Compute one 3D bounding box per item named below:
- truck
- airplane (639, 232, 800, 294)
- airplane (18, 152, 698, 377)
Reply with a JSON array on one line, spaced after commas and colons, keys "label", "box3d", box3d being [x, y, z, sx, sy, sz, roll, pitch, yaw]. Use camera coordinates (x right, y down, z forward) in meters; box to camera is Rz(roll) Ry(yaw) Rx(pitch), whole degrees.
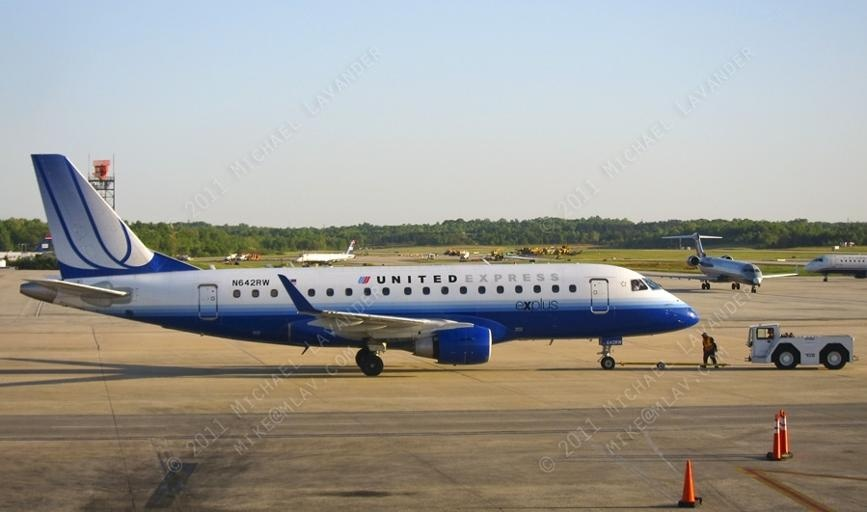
[{"label": "truck", "box3d": [19.966, 4.877, 57.853, 5.007, 1.492, 2.665, 0, -2, 8]}, {"label": "airplane", "box3d": [28.811, 1.263, 104.672, 8.621, 7.978, 10.354, -1, 0, 44]}, {"label": "airplane", "box3d": [-5.033, 0.381, 57.172, 32.619, 11.839, 2.928, -1, 2, 0]}]
